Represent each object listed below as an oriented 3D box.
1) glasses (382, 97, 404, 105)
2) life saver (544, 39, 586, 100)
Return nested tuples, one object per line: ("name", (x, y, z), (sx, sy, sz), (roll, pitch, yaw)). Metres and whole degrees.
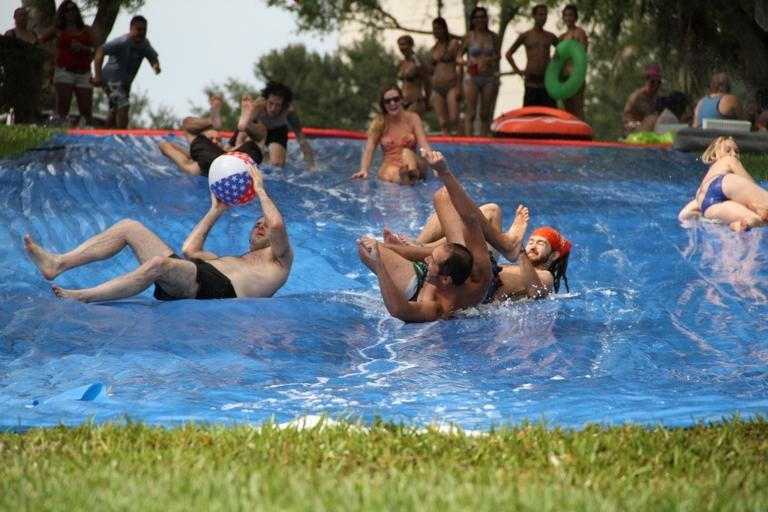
("glasses", (0.127, -2.196, 13.461), (0.279, 0.119, 0.164), (-2, 8, -18))
("life saver", (3.148, -3.232, 16.496), (0.488, 1.015, 0.872), (-4, 9, -23))
